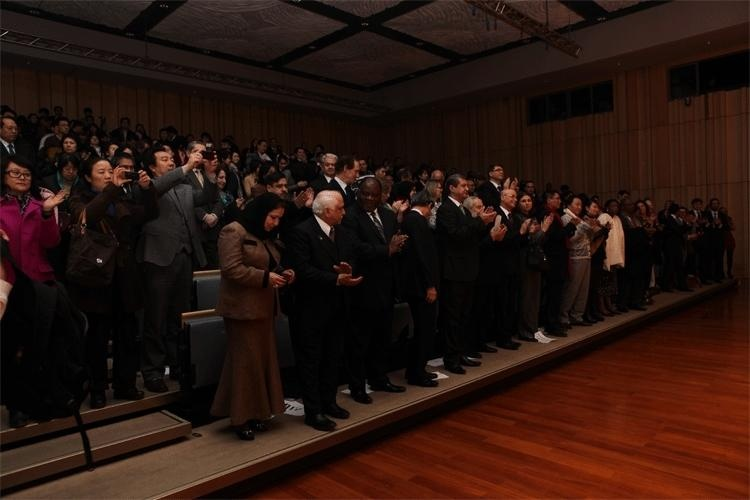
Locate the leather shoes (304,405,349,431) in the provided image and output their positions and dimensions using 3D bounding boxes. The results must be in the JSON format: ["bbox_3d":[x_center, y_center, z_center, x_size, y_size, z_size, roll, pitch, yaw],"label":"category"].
[{"bbox_3d":[-0.389,1.304,3.963,0.298,0.121,0.280,5,13,28],"label":"leather shoes"}]

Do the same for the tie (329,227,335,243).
[{"bbox_3d":[-0.348,-0.123,4.107,0.023,0.095,0.071,-1,-9,7],"label":"tie"}]

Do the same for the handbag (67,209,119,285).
[{"bbox_3d":[-2.122,-0.002,3.752,0.281,0.537,0.196,-1,11,3],"label":"handbag"}]

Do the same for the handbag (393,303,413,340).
[{"bbox_3d":[0.259,0.767,5.260,0.133,0.354,0.315,6,14,34],"label":"handbag"}]

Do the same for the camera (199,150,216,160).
[{"bbox_3d":[-1.395,-0.799,4.244,0.092,0.075,0.256,-3,11,-10],"label":"camera"}]

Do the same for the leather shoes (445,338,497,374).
[{"bbox_3d":[0.870,1.013,4.934,0.280,0.232,0.364,-1,-2,27],"label":"leather shoes"}]

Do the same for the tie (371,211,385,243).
[{"bbox_3d":[0.026,-0.213,4.420,0.070,0.356,0.089,-30,-48,12],"label":"tie"}]

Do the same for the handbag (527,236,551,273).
[{"bbox_3d":[1.837,0.057,5.643,0.163,0.488,0.409,-9,-7,31],"label":"handbag"}]
